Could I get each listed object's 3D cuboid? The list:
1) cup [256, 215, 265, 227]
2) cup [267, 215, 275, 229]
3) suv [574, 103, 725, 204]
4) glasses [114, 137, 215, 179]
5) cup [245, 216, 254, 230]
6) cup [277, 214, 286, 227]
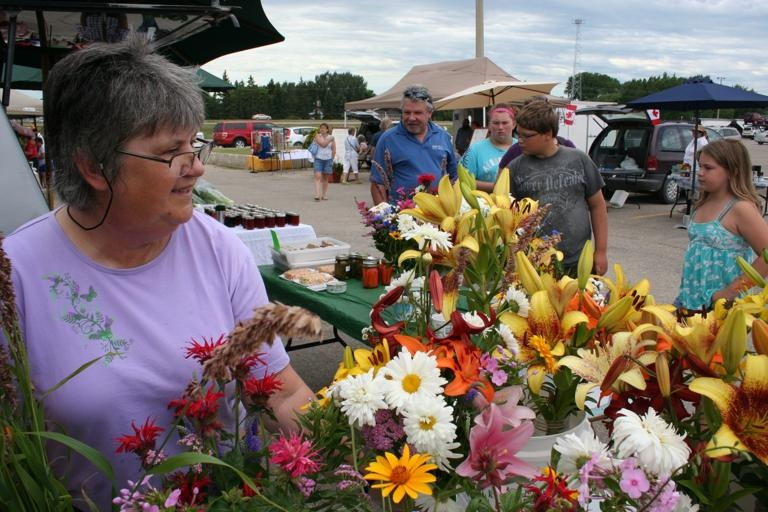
[{"bbox_3d":[-1.275,-0.344,5.976,0.102,0.104,0.100,0,6,0],"label":"cup"},{"bbox_3d":[-1.180,-0.340,6.021,0.111,0.111,0.108,0,6,0],"label":"cup"},{"bbox_3d":[7.189,-2.596,15.534,4.860,2.440,2.765,-18,19,-37],"label":"suv"},{"bbox_3d":[-0.610,-0.255,1.575,0.173,0.049,0.165,13,22,11],"label":"glasses"},{"bbox_3d":[-1.368,-0.324,5.909,0.112,0.115,0.112,1,8,0],"label":"cup"},{"bbox_3d":[-1.083,-0.374,6.101,0.119,0.120,0.117,0,4,0],"label":"cup"}]
